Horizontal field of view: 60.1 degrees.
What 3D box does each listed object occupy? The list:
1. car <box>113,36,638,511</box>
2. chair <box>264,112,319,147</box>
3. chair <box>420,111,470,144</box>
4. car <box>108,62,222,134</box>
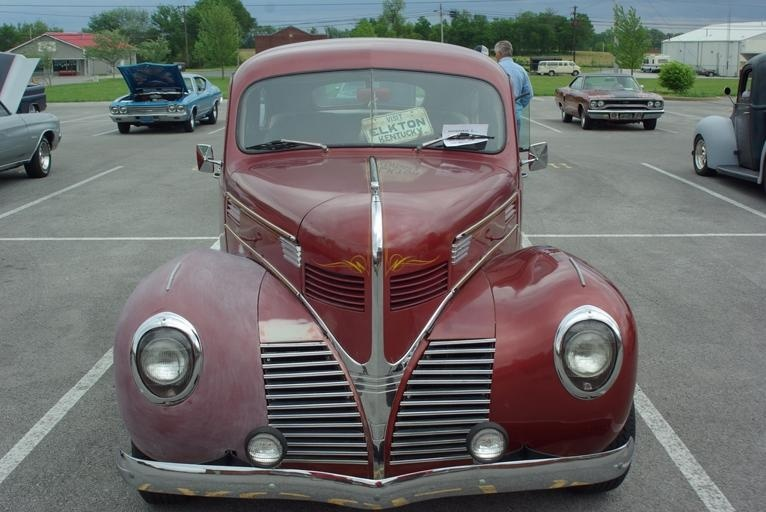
[{"bbox_3d":[0.016,-0.051,5.094,3.481,3.145,2.863,-2,16,5],"label":"car"},{"bbox_3d":[-0.784,-1.044,5.535,0.398,0.310,0.143,1,-2,5],"label":"chair"},{"bbox_3d":[0.500,-1.065,5.530,0.231,0.166,0.363,1,-8,-25],"label":"chair"},{"bbox_3d":[-6.972,-5.331,22.283,1.801,1.932,4.409,0,14,5],"label":"car"}]
